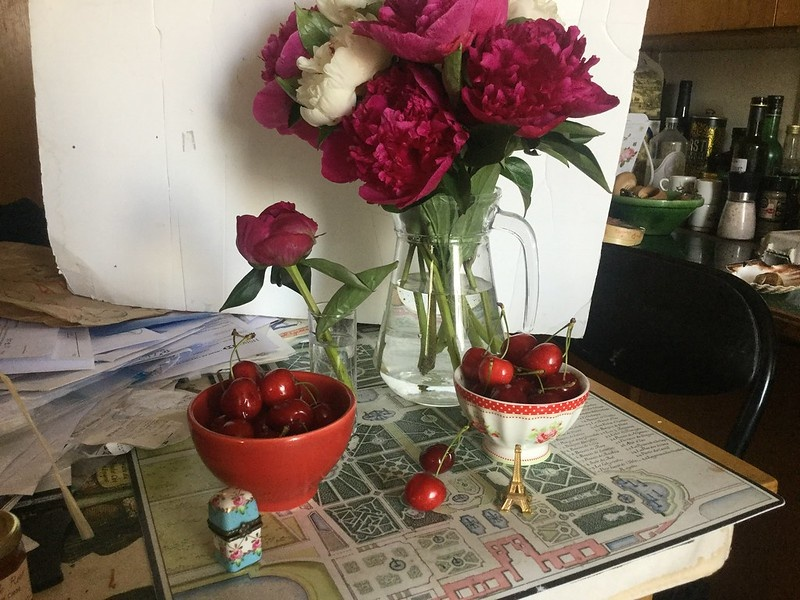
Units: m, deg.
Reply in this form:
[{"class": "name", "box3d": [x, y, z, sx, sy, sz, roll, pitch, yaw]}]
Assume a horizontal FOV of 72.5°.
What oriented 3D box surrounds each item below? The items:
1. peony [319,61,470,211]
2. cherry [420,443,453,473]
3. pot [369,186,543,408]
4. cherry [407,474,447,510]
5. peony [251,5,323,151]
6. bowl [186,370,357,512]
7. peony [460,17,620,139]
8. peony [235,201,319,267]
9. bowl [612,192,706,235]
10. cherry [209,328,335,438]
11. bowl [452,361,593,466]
[{"class": "peony", "box3d": [-0.006, -0.156, 0.542, 0.093, 0.143, 0.155, -12, 20, -40]}, {"class": "cherry", "box3d": [0.038, 0.167, 0.571, 0.027, 0.028, 0.037, -44, 10, -32]}, {"class": "pot", "box3d": [0.073, 0.004, 0.731, 0.255, 0.258, 0.192, -6, 9, -13]}, {"class": "cherry", "box3d": [0.028, 0.184, 0.526, 0.037, 0.033, 0.034, 4, 5, 5]}, {"class": "peony", "box3d": [-0.127, -0.235, 0.634, 0.087, 0.152, 0.150, -3, 6, -21]}, {"class": "bowl", "box3d": [-0.122, 0.158, 0.542, 0.140, 0.076, 0.133, -4, 5, 0]}, {"class": "peony", "box3d": [0.125, -0.199, 0.489, 0.136, 0.101, 0.056, 2, 16, 2]}, {"class": "peony", "box3d": [-0.135, -0.068, 0.598, 0.102, 0.064, 0.088, -4, 24, -8]}, {"class": "bowl", "box3d": [0.706, -0.242, 1.510, 0.170, 0.059, 0.161, -1, 8, 0]}, {"class": "cherry", "box3d": [-0.126, 0.072, 0.533, 0.093, 0.050, 0.096, -4, 18, -24]}, {"class": "bowl", "box3d": [0.132, 0.130, 0.606, 0.130, 0.074, 0.126, -1, 7, 0]}]
